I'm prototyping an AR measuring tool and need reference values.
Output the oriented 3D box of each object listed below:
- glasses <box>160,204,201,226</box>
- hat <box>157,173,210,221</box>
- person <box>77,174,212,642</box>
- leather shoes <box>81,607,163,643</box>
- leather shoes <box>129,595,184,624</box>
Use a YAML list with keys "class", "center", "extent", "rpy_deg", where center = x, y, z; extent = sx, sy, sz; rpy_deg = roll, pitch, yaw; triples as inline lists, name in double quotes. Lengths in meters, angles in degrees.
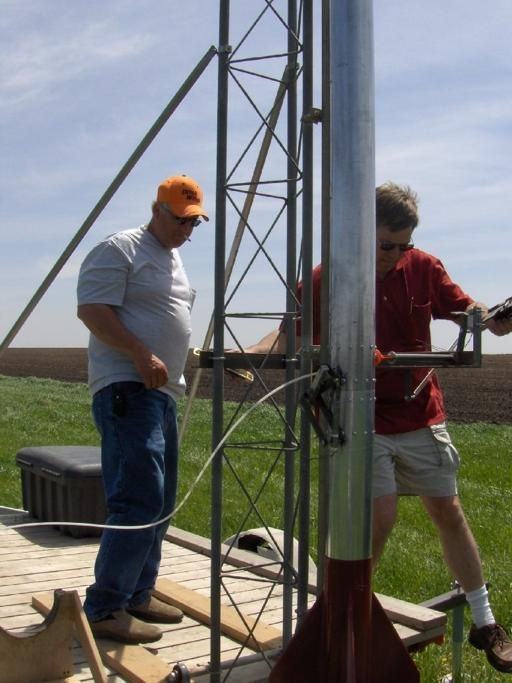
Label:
- class: "glasses"
  center: [-0.300, -0.539, 3.605]
  extent: [0.106, 0.029, 0.105]
  rpy_deg: [40, 19, 33]
- class: "hat"
  center: [-0.305, -0.615, 3.634]
  extent: [0.188, 0.149, 0.280]
  rpy_deg: [-2, 23, -41]
- class: "person"
  center: [-0.469, 0.252, 3.533]
  extent: [0.553, 1.909, 0.425]
  rpy_deg: [0, 0, -24]
- class: "leather shoes"
  center: [-0.533, 1.133, 3.442]
  extent: [0.286, 0.119, 0.121]
  rpy_deg: [2, -4, -5]
- class: "leather shoes"
  center: [-0.423, 1.142, 3.667]
  extent: [0.255, 0.095, 0.095]
  rpy_deg: [3, -5, 4]
